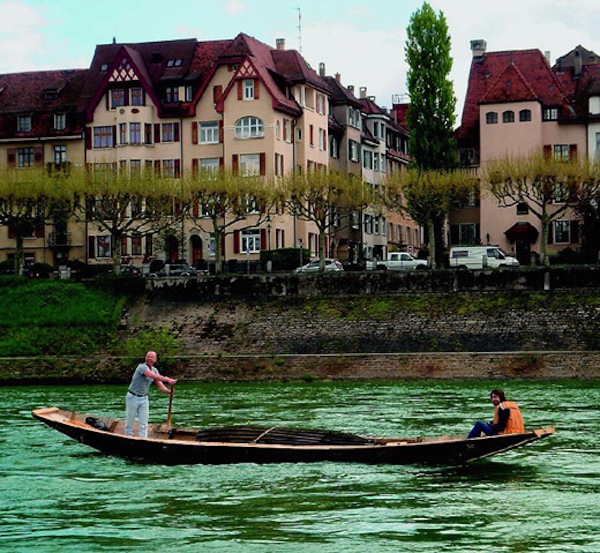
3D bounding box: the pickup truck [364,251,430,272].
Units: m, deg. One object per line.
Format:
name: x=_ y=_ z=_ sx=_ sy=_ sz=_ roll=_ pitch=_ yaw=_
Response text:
pickup truck: x=5.367 y=-0.639 z=81.844 sx=2.819 sy=1.354 sz=1.574 roll=-2 pitch=-1 yaw=10
